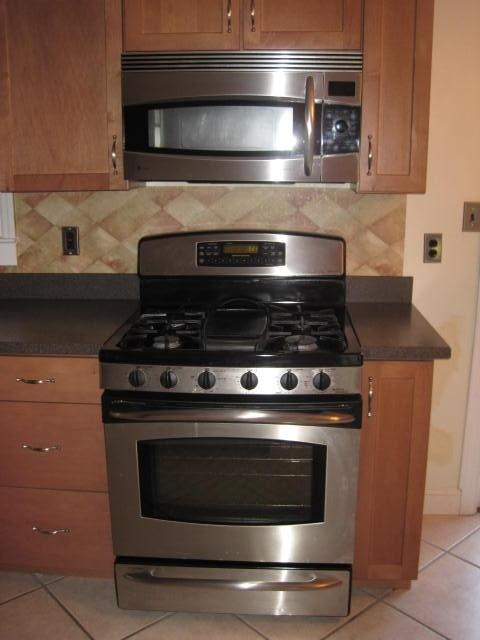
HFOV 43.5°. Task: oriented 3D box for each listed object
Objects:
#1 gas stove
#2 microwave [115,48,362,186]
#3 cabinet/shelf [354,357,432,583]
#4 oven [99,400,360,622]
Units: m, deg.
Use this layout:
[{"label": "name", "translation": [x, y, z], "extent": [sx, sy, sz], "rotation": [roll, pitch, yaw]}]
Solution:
[{"label": "gas stove", "translation": [-0.016, 0.035, 1.726], "extent": [0.677, 0.221, 0.536], "rotation": [0, 14, 5]}, {"label": "microwave", "translation": [0.004, -0.678, 1.876], "extent": [0.731, 0.425, 0.419], "rotation": [3, 45, 4]}, {"label": "cabinet/shelf", "translation": [0.460, 0.498, 1.766], "extent": [0.228, 0.525, 0.155], "rotation": [-2, -10, 41]}, {"label": "oven", "translation": [-0.012, 0.468, 1.820], "extent": [0.683, 0.732, 0.503], "rotation": [1, 19, 2]}]
